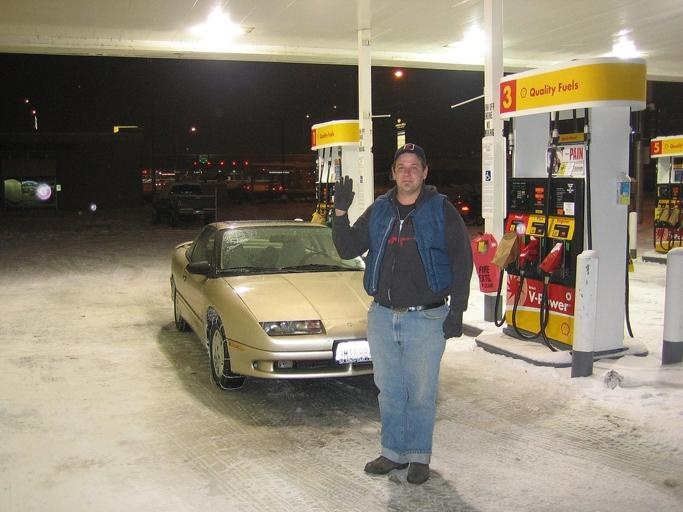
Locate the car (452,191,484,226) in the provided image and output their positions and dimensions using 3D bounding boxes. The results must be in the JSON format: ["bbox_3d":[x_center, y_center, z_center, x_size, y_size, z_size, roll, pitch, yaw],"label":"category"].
[{"bbox_3d":[6.305,-2.294,26.515,1.462,1.344,3.229,7,15,36],"label":"car"}]

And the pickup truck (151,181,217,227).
[{"bbox_3d":[-8.496,-2.399,28.172,2.766,2.563,6.249,-2,10,-24],"label":"pickup truck"}]

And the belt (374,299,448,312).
[{"bbox_3d":[0.484,0.353,3.854,0.538,0.066,0.178,1,8,10],"label":"belt"}]

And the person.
[{"bbox_3d":[0.461,0.520,3.917,0.974,2.242,0.413,2,7,16],"label":"person"}]

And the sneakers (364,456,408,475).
[{"bbox_3d":[0.337,1.594,3.979,0.246,0.118,0.136,7,-2,-4],"label":"sneakers"}]

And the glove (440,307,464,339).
[{"bbox_3d":[0.798,0.478,3.777,0.141,0.240,0.159,1,7,9],"label":"glove"}]

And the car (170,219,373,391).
[{"bbox_3d":[-0.837,0.403,5.985,1.380,0.947,2.470,-2,7,-21],"label":"car"}]
